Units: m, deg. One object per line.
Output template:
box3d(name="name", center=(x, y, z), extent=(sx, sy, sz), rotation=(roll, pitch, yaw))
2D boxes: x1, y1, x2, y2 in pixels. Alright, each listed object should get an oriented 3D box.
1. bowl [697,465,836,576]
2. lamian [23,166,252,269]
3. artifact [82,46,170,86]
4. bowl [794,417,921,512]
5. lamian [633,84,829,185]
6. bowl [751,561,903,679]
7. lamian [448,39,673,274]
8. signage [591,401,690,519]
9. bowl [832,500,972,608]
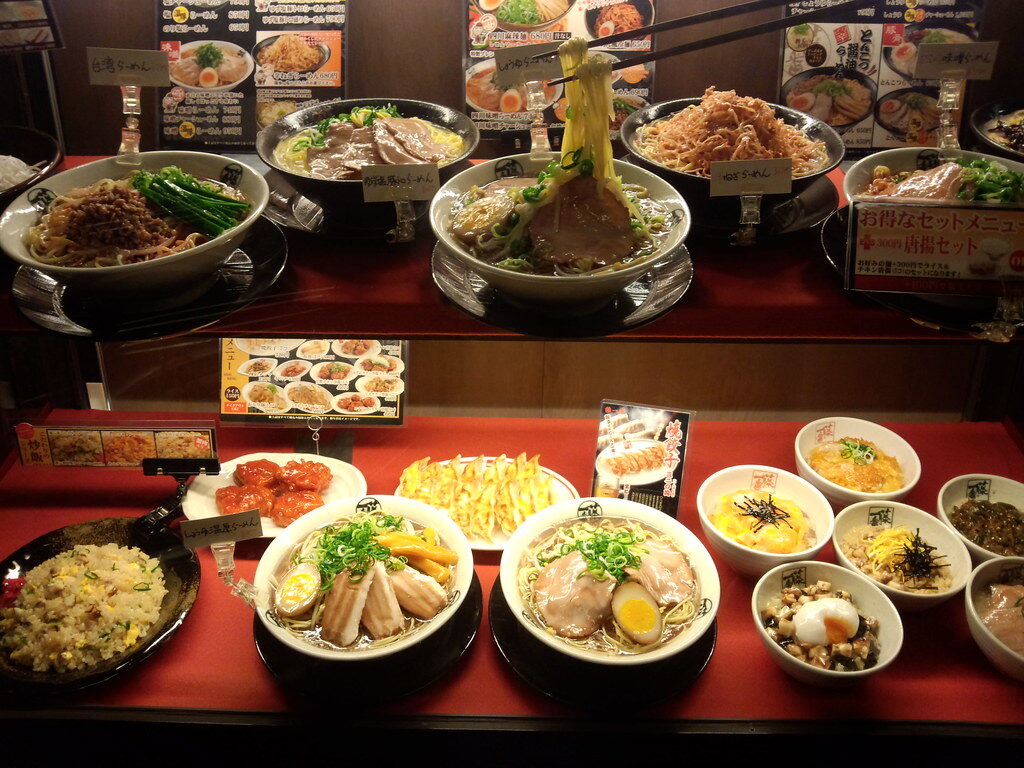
box3d(name="bowl", center=(0.913, 0.482, 2.489), extent=(0.406, 0.221, 0.405), rotation=(1, 31, -1))
box3d(name="lamian", center=(-0.892, -0.400, 1.649), extent=(0.505, 0.137, 0.276), rotation=(-11, 33, -15))
box3d(name="artifact", center=(-1.039, -0.847, 1.877), extent=(0.181, 0.112, 0.184), rotation=(-28, 41, -36))
box3d(name="bowl", center=(1.331, 0.333, 2.727), extent=(0.429, 0.179, 0.432), rotation=(-6, 34, 4))
box3d(name="lamian", center=(0.709, -0.784, 2.129), extent=(0.475, 0.142, 0.467), rotation=(-19, 21, -17))
box3d(name="bowl", center=(0.987, 0.793, 2.186), extent=(0.377, 0.169, 0.375), rotation=(1, 37, -1))
box3d(name="lamian", center=(0.117, -0.521, 1.695), extent=(0.567, 0.505, 0.562), rotation=(-8, 33, -11))
box3d(name="signage", center=(0.496, 0.290, 2.802), extent=(0.372, 0.406, 0.411), rotation=(7, -3, 10))
box3d(name="bowl", center=(1.316, 0.615, 2.418), extent=(0.438, 0.190, 0.445), rotation=(4, 31, -2))
